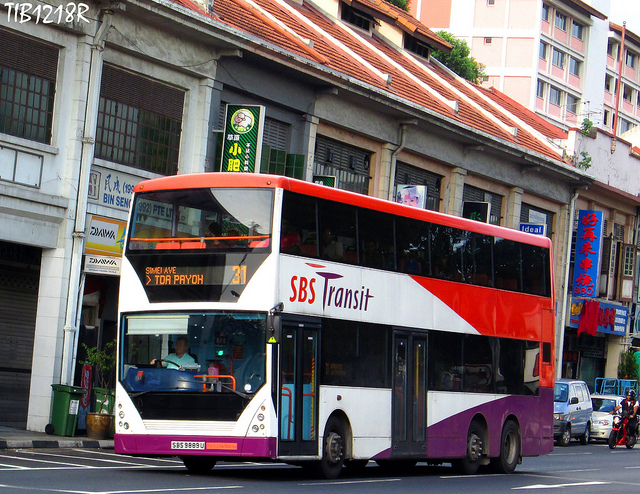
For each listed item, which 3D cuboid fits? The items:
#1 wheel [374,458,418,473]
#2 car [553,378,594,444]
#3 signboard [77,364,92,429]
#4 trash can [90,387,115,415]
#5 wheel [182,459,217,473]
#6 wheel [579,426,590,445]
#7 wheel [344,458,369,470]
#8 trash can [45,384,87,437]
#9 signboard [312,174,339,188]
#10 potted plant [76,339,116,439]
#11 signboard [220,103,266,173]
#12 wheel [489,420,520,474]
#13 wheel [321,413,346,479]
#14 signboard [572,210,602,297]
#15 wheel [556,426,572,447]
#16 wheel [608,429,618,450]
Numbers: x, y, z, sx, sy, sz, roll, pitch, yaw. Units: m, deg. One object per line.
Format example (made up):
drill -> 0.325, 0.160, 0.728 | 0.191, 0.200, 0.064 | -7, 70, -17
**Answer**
wheel -> 1.798, 5.115, 23.313 | 0.821, 0.270, 2.278 | 2, -12, 5
car -> 8.717, 5.995, 36.736 | 1.845, 2.399, 3.857 | 1, -7, 29
signboard -> -5.580, 3.623, 23.909 | 0.321, 1.842, 0.076 | 8, 11, 39
trash can -> -5.209, 3.630, 23.683 | 0.478, 0.615, 0.739 | 12, -15, -42
wheel -> -2.357, 4.270, 19.522 | 0.403, 0.286, 0.366 | 5, -6, -27
wheel -> 9.728, 6.898, 36.719 | 0.227, 0.836, 0.765 | -1, -4, 21
wheel -> 0.751, 4.643, 21.347 | 0.559, 0.150, 0.600 | 0, -3, 0
trash can -> -5.872, 3.751, 22.971 | 0.770, 1.157, 0.464 | 4, -10, -9
signboard -> 0.132, -2.100, 30.778 | 0.725, 0.476, 0.679 | 4, -11, -5
potted plant -> -5.291, 3.386, 23.856 | 0.754, 2.391, 1.456 | 5, -10, -13
signboard -> -2.083, -3.005, 27.164 | 1.306, 2.092, 0.422 | -4, -12, 34
wheel -> 4.257, 4.617, 23.042 | 0.380, 1.230, 1.021 | -5, -13, 38
wheel -> 0.214, 3.782, 18.806 | 0.266, 1.226, 1.025 | -3, -3, 26
signboard -> 11.833, 0.290, 44.213 | 0.776, 4.645, 0.948 | -1, -4, -26
wheel -> 8.535, 6.661, 35.153 | 0.314, 0.716, 0.718 | -4, -13, 33
wheel -> 10.084, 6.624, 34.315 | 0.246, 0.675, 0.578 | -2, -12, 24
